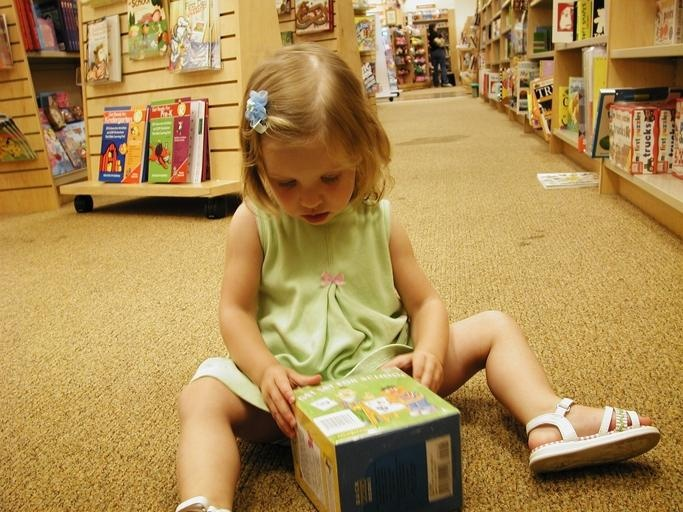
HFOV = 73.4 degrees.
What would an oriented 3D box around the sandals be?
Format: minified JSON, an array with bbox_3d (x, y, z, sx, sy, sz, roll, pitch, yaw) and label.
[{"bbox_3d":[0.391,0.285,0.772,0.201,0.108,0.115,-10,56,-8],"label":"sandals"}]

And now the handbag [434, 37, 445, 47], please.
[{"bbox_3d":[2.600,-5.613,12.150,0.219,0.329,0.112,-12,10,-42],"label":"handbag"}]
